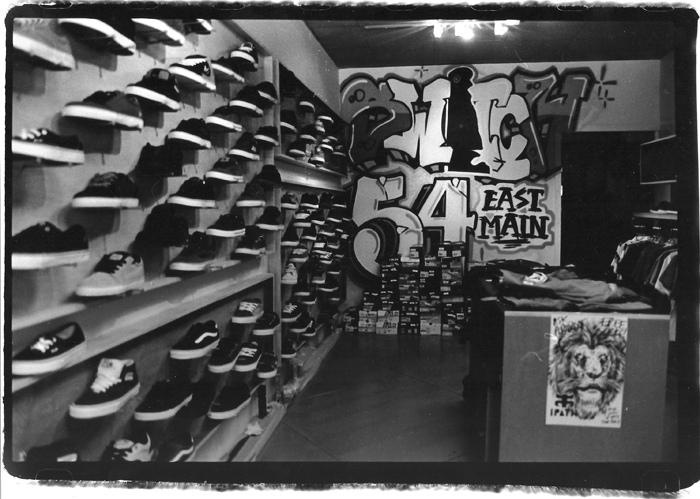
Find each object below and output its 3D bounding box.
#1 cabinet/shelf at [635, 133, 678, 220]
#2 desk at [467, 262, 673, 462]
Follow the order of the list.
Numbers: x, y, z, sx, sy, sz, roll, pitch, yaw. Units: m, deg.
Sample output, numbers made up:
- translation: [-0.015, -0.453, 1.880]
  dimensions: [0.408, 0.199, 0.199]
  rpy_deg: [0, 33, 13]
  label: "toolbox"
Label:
- translation: [1.256, -0.304, 2.299]
  dimensions: [0.119, 0.329, 0.364]
  rpy_deg: [1, 0, 11]
  label: "cabinet/shelf"
- translation: [0.927, 0.528, 2.344]
  dimensions: [0.795, 0.844, 0.415]
  rpy_deg: [3, 2, 24]
  label: "desk"
